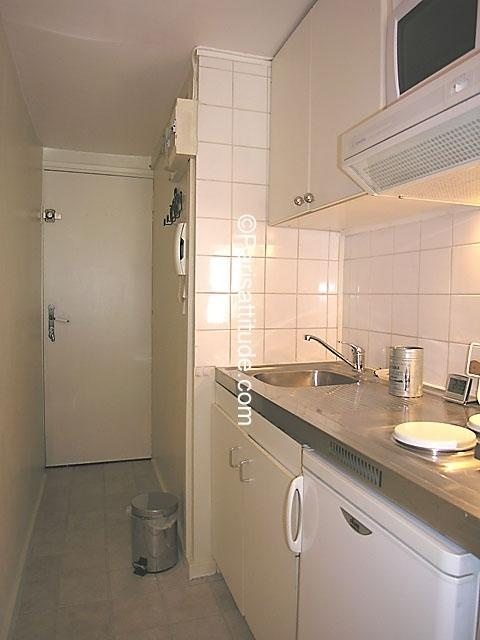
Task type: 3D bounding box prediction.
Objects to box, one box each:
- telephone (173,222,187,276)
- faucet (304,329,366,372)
[{"bbox_3d":[-0.257,-0.304,2.080,0.053,0.221,0.135,0,2,-8],"label":"telephone"},{"bbox_3d":[0.390,0.128,1.965,0.239,0.142,0.414,1,3,10],"label":"faucet"}]
